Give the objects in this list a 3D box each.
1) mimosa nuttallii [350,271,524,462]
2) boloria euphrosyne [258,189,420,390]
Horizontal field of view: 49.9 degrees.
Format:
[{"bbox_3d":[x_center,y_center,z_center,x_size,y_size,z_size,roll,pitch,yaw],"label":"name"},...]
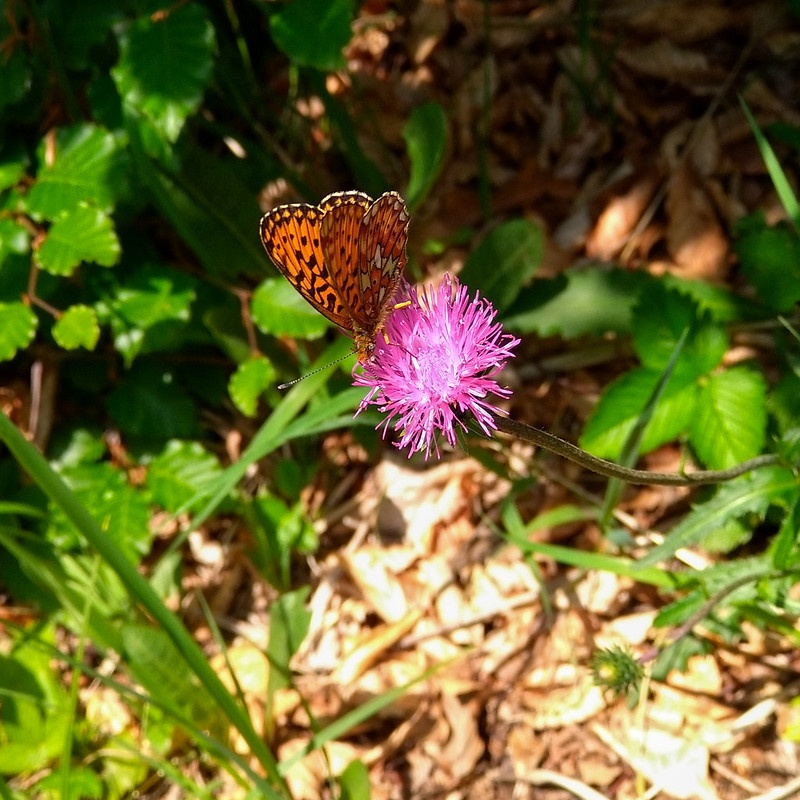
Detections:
[{"bbox_3d":[0.069,-0.078,2.100,0.384,0.239,0.399,-7,57,12],"label":"mimosa nuttallii"},{"bbox_3d":[-0.169,-0.380,2.300,0.436,0.449,0.228,-50,45,-4],"label":"boloria euphrosyne"}]
